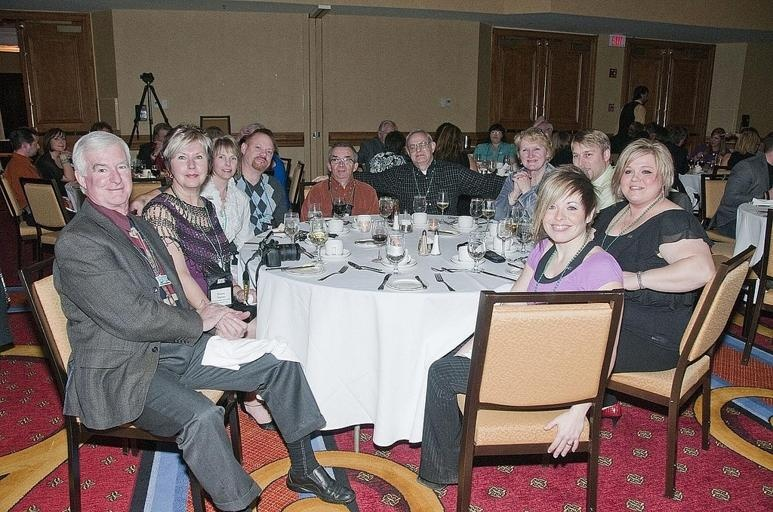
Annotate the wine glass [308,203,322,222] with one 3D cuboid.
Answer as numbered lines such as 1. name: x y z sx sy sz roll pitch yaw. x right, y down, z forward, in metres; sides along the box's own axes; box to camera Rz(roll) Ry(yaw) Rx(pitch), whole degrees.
1. wine glass: -0.476 -0.294 3.459 0.129 0.130 0.132 1 5 7

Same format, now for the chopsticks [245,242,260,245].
1. chopsticks: -0.885 -0.086 3.403 0.085 0.007 0.013 4 40 6

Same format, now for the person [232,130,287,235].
1. person: -1.062 -0.520 4.199 0.467 1.011 0.409 2 -3 -25

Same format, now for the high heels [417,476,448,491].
1. high heels: 0.237 1.174 2.678 0.123 0.046 0.077 5 17 10

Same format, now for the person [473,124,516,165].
1. person: 1.708 -1.733 8.204 0.733 0.676 0.429 4 21 20

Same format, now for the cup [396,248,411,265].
1. cup: 0.098 0.002 2.956 0.059 0.070 0.095 4 27 14

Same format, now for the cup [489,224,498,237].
1. cup: 0.700 -0.174 3.389 0.060 0.075 0.080 0 2 10

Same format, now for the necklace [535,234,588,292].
1. necklace: 0.839 0.044 2.509 0.261 0.242 0.253 12 20 36

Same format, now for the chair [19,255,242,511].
1. chair: -1.345 0.565 3.193 1.196 1.870 1.056 -1 3 1

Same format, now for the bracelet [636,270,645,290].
1. bracelet: 1.349 0.128 2.755 0.031 0.070 0.055 -2 -5 17

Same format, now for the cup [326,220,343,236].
1. cup: -0.361 -0.204 3.575 0.103 0.085 0.107 0 14 0

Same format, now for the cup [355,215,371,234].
1. cup: -0.164 -0.242 3.648 0.093 0.124 0.141 1 4 3

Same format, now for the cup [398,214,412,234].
1. cup: 0.128 -0.225 3.533 0.078 0.134 0.135 0 12 1

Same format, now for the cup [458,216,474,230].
1. cup: 0.572 -0.243 3.711 0.097 0.076 0.099 -6 28 3

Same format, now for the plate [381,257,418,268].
1. plate: 0.103 0.040 2.964 0.101 0.025 0.104 6 13 32

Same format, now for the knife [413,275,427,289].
1. knife: 0.178 0.135 2.731 0.025 0.010 0.117 -5 22 -6

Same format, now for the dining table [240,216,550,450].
1. dining table: -0.020 0.371 2.838 1.071 0.672 1.106 -2 11 -24

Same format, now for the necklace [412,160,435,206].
1. necklace: 0.329 -0.589 4.562 0.238 0.467 0.110 -1 1 7

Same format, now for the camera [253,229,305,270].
1. camera: -0.617 -0.034 3.028 0.198 0.121 0.181 -4 15 -25

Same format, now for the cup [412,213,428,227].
1. cup: 0.252 -0.270 3.771 0.104 0.079 0.105 0 9 0

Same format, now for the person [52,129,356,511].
1. person: -0.980 0.315 2.417 1.196 1.709 0.706 7 18 22

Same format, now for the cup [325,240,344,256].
1. cup: -0.313 -0.050 3.133 0.078 0.079 0.105 4 22 6
